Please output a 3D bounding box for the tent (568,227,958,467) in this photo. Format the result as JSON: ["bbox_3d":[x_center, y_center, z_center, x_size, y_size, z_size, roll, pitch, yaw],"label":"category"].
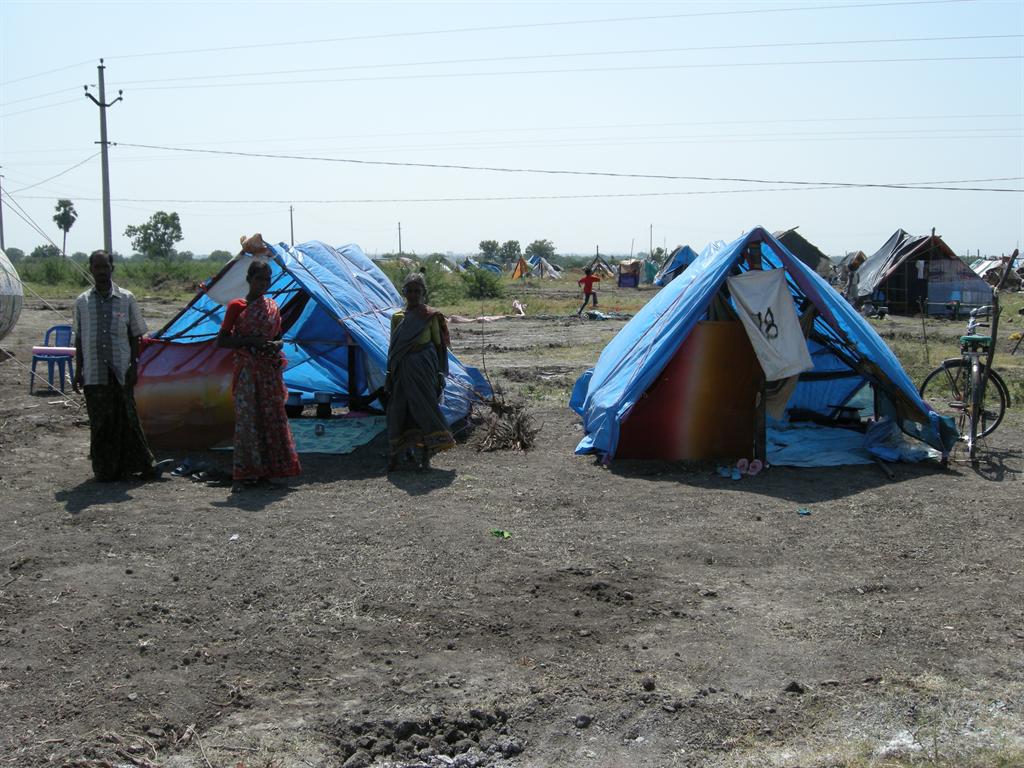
[{"bbox_3d":[2.358,-0.419,9.363,3.412,2.225,1.850,0,5,1],"label":"tent"}]

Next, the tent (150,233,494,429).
[{"bbox_3d":[-2.351,-0.686,10.644,3.336,1.252,2.991,-1,5,7],"label":"tent"}]

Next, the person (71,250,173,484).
[{"bbox_3d":[-3.339,-0.129,7.640,0.577,1.910,0.542,-1,6,-5],"label":"person"}]

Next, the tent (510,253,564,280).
[{"bbox_3d":[1.413,-8.184,65.275,3.193,1.203,3.544,-1,6,-20],"label":"tent"}]

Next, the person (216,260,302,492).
[{"bbox_3d":[-2.131,-0.082,7.696,0.341,1.893,0.593,5,8,42],"label":"person"}]

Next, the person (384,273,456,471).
[{"bbox_3d":[-0.891,-0.123,8.722,0.601,1.764,0.623,-1,6,-8],"label":"person"}]
